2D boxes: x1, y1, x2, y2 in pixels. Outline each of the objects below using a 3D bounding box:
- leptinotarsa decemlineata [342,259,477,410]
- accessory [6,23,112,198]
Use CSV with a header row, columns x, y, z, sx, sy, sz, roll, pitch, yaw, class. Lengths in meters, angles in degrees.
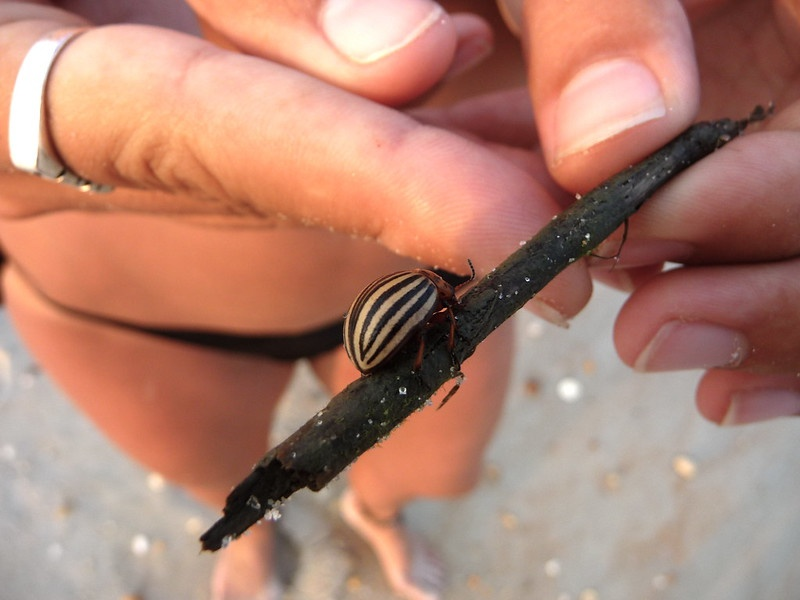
x,y,z,sx,sy,sz,roll,pitch,yaw,class
0.006,0.044,1.560,0.180,0.140,0.224,-4,62,-20,leptinotarsa decemlineata
-0.702,-0.391,1.864,0.181,0.284,0.066,21,19,29,accessory
